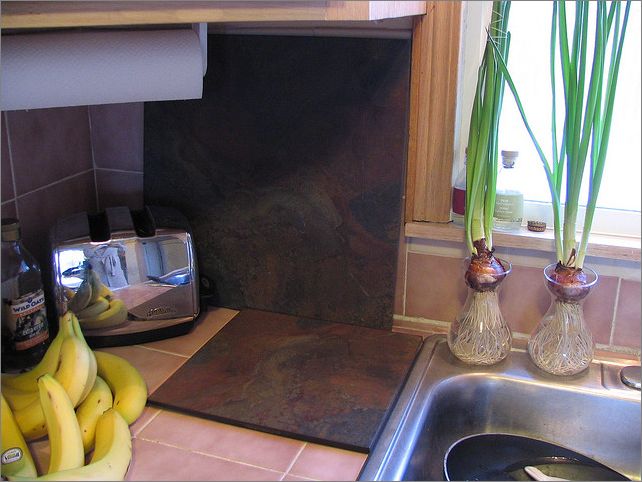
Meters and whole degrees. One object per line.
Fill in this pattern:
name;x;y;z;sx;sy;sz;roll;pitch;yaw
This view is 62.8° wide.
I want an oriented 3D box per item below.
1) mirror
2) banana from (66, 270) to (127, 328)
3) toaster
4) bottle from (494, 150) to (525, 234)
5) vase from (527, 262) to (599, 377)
mirror;-0.470;0.066;1.294;0.355;0.325;0.199;-9;27;-22
banana;-0.511;0.147;1.199;0.103;0.139;0.047;-3;27;5
toaster;-0.475;0.059;1.297;0.355;0.329;0.202;-9;28;-22
bottle;0.442;-0.121;1.211;0.053;0.182;0.091;13;22;41
vase;0.534;0.175;1.153;0.135;0.251;0.147;-2;26;-1
